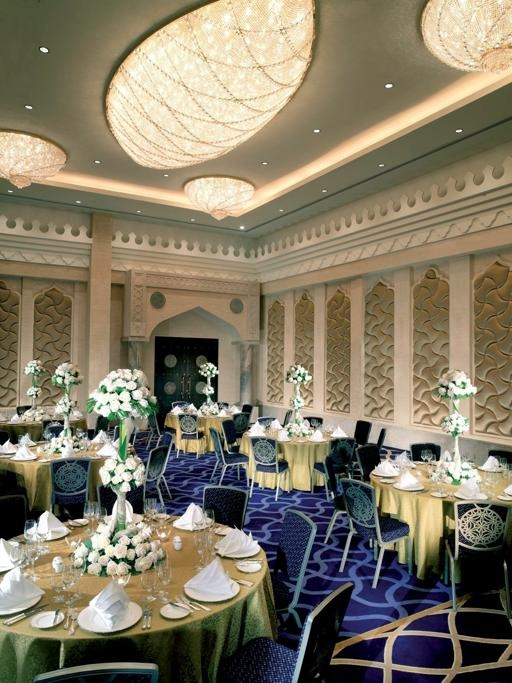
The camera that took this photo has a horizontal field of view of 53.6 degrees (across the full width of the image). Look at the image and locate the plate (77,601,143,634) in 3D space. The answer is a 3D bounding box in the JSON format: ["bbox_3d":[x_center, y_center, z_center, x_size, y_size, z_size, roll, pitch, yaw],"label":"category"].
[{"bbox_3d":[-0.614,1.156,2.107,0.269,0.038,0.178,2,-3,-5],"label":"plate"}]

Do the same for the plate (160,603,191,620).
[{"bbox_3d":[-0.350,1.173,2.195,0.138,0.021,0.115,1,-3,5],"label":"plate"}]

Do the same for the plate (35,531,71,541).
[{"bbox_3d":[-1.228,1.175,3.046,0.174,0.049,0.152,7,-8,-25],"label":"plate"}]

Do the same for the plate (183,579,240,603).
[{"bbox_3d":[-0.194,1.163,2.373,0.267,0.066,0.159,2,-3,-21],"label":"plate"}]

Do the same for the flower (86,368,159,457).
[{"bbox_3d":[-0.755,0.407,2.880,0.396,0.494,0.387,2,-3,-18],"label":"flower"}]

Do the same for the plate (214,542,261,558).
[{"bbox_3d":[-0.104,1.172,2.840,0.163,0.056,0.152,0,1,21],"label":"plate"}]

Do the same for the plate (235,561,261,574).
[{"bbox_3d":[-0.036,1.200,2.706,0.138,0.016,0.165,1,-3,1],"label":"plate"}]

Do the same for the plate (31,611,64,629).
[{"bbox_3d":[-0.877,1.161,2.128,0.131,0.027,0.159,2,-3,-22],"label":"plate"}]

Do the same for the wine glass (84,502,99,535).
[{"bbox_3d":[-0.956,1.029,2.943,0.077,0.226,0.187,2,-3,-16],"label":"wine glass"}]

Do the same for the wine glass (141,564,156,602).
[{"bbox_3d":[-0.492,1.107,2.332,0.071,0.170,0.253,2,-3,-10],"label":"wine glass"}]

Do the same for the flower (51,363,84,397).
[{"bbox_3d":[-2.142,0.434,5.724,0.264,0.360,0.316,2,-3,-9],"label":"flower"}]

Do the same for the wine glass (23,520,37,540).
[{"bbox_3d":[-1.193,1.005,2.675,0.057,0.099,0.164,3,-3,-26],"label":"wine glass"}]
